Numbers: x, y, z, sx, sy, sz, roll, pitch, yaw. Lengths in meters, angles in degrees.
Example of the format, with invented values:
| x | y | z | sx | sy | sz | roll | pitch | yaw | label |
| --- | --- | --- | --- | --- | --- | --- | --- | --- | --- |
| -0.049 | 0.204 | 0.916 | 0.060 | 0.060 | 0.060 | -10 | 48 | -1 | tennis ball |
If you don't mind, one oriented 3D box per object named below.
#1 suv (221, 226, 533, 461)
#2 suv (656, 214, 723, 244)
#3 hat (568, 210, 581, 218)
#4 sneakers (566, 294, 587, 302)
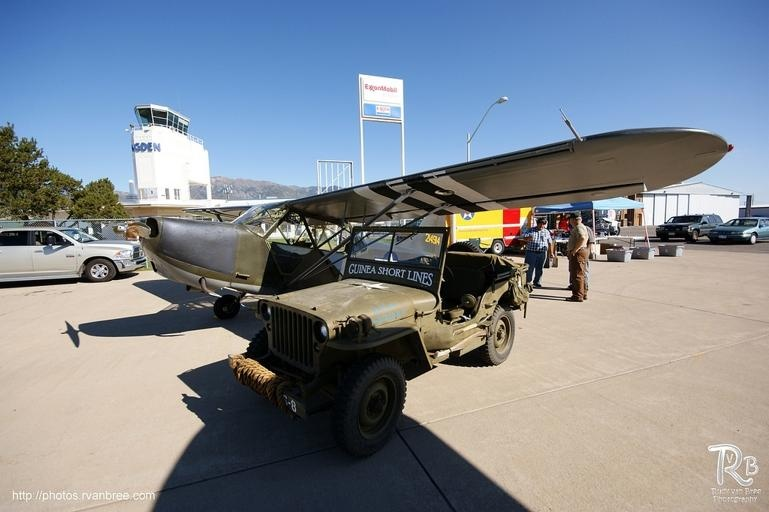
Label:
| x | y | z | sx | sy | sz | roll | pitch | yaw | label |
| --- | --- | --- | --- | --- | --- | --- | --- | --- | --- |
| 0.185 | 0.923 | 7.180 | 4.450 | 2.118 | 2.558 | -6 | 6 | -42 | suv |
| 17.969 | -1.673 | 26.673 | 3.382 | 1.168 | 1.850 | -1 | 0 | -31 | suv |
| 4.541 | -0.982 | 10.882 | 0.266 | 0.132 | 0.341 | -4 | 4 | 43 | hat |
| 4.471 | 0.992 | 10.717 | 0.483 | 0.201 | 0.167 | -4 | -1 | 36 | sneakers |
